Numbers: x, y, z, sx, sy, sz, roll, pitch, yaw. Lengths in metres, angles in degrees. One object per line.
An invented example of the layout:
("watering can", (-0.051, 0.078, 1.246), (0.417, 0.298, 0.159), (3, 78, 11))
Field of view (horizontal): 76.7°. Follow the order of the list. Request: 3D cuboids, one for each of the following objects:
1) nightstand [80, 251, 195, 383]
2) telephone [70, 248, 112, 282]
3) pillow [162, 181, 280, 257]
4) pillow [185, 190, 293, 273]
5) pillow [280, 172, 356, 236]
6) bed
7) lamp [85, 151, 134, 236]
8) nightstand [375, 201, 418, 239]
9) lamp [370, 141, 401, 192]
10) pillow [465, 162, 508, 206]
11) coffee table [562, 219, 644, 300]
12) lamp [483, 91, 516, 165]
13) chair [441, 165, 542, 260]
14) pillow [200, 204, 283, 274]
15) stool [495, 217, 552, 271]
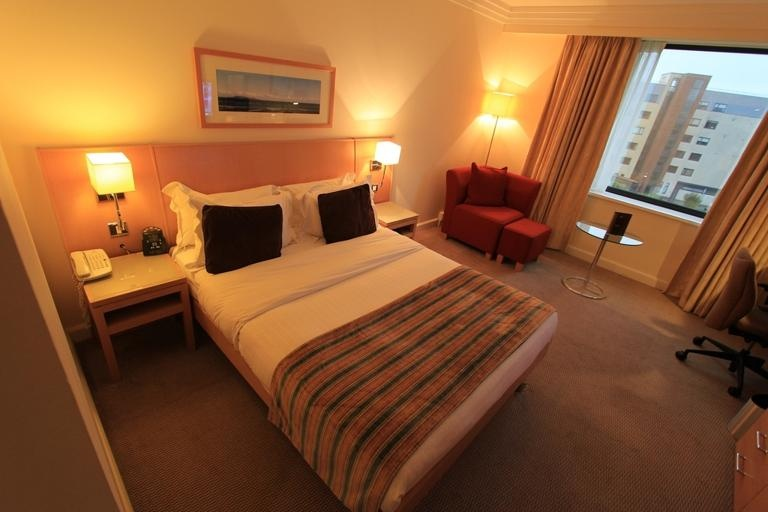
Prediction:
("nightstand", (-2.142, 0.319, 4.557), (0.969, 1.044, 0.979), (-16, 40, -28))
("telephone", (-2.528, 0.077, 4.183), (0.259, 0.189, 0.327), (-13, 26, -35))
("pillow", (-1.660, -0.510, 4.733), (0.752, 0.660, 0.225), (-30, 11, -41))
("pillow", (-1.368, -0.208, 4.436), (0.676, 0.484, 0.223), (-13, 26, -39))
("pillow", (-0.755, -0.520, 4.976), (0.643, 0.643, 0.195), (-5, 6, -41))
("bed", (-0.075, 0.725, 4.518), (2.468, 1.302, 2.281), (20, 27, 38))
("lamp", (-2.339, -0.507, 4.192), (0.325, 0.737, 0.268), (-10, 25, -30))
("nightstand", (0.091, -0.513, 5.952), (0.450, 0.433, 0.442), (-23, 46, -31))
("lamp", (0.053, -1.065, 5.866), (0.412, 0.634, 0.374), (-8, 24, -26))
("pillow", (1.378, -0.937, 6.518), (0.643, 0.614, 0.216), (2, 15, -18))
("coffee table", (2.792, 0.057, 6.077), (0.618, 0.687, 0.624), (-20, 41, -29))
("lamp", (1.618, -1.796, 6.923), (0.377, 1.069, 0.346), (17, 26, 32))
("chair", (1.527, -0.558, 6.473), (0.997, 1.086, 1.340), (-14, 35, -41))
("pillow", (-1.324, -0.153, 4.391), (0.562, 0.397, 0.192), (-11, 29, -38))
("stool", (1.816, -0.165, 6.298), (0.439, 0.510, 0.617), (26, 30, 31))
